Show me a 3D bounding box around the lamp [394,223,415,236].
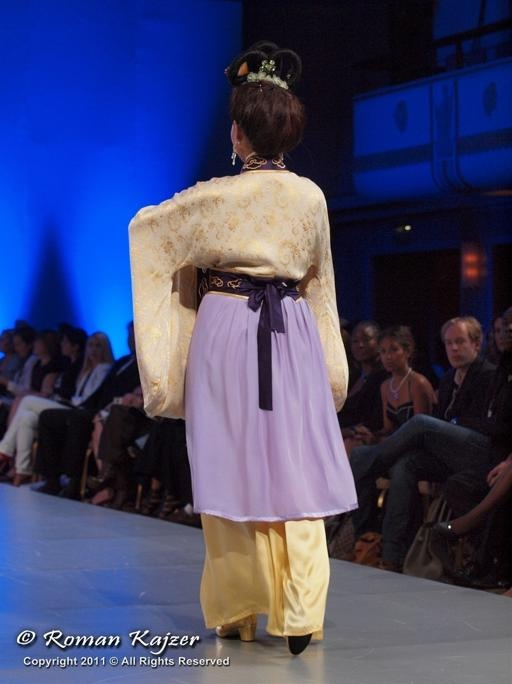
[{"bbox_3d":[0.697,-0.527,3.174,0.085,0.031,0.110,0,-2,-4],"label":"lamp"}]

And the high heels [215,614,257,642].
[{"bbox_3d":[-0.045,0.739,1.737,0.050,0.065,0.141,5,-10,-40],"label":"high heels"}]

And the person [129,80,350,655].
[{"bbox_3d":[-0.004,0.048,1.704,0.611,1.466,0.404,0,1,-12],"label":"person"}]
